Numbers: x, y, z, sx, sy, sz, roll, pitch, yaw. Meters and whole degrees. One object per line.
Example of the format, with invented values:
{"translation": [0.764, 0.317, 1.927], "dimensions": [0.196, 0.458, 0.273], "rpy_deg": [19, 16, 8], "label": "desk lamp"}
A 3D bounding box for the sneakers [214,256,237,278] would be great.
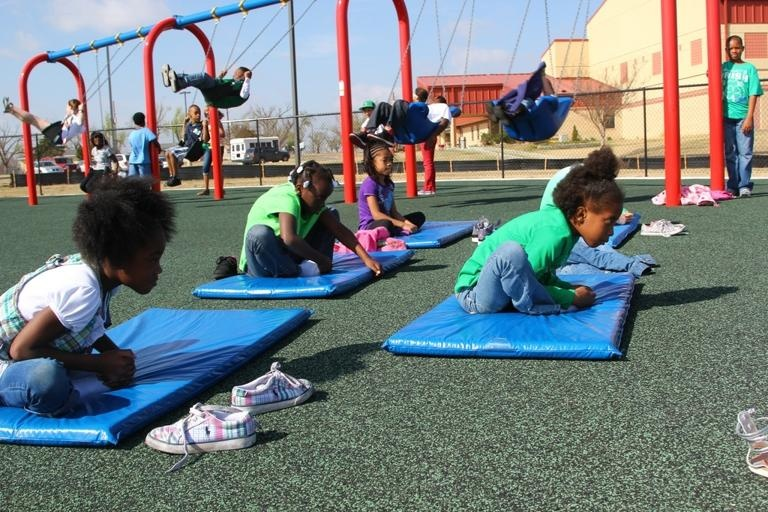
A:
{"translation": [-1.338, 0.108, 5.607], "dimensions": [0.191, 0.137, 0.345], "rpy_deg": [-7, 12, -14], "label": "sneakers"}

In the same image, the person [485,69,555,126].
{"translation": [1.543, -1.841, 7.754], "dimensions": [0.765, 0.598, 0.532], "rpy_deg": [-1, 13, 13], "label": "person"}

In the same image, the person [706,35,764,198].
{"translation": [4.852, -1.835, 9.175], "dimensions": [0.474, 2.174, 0.773], "rpy_deg": [1, 14, 25], "label": "person"}

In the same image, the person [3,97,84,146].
{"translation": [-5.905, -2.263, 11.756], "dimensions": [1.063, 0.733, 1.109], "rpy_deg": [-4, 12, 0], "label": "person"}

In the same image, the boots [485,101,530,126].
{"translation": [1.395, -1.654, 7.901], "dimensions": [0.566, 0.213, 0.177], "rpy_deg": [-12, 9, 8], "label": "boots"}

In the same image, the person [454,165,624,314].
{"translation": [0.883, -0.062, 4.016], "dimensions": [1.070, 0.729, 0.728], "rpy_deg": [-9, 3, 7], "label": "person"}

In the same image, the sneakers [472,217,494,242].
{"translation": [0.978, -0.260, 6.880], "dimensions": [0.174, 0.172, 0.456], "rpy_deg": [3, 12, 25], "label": "sneakers"}

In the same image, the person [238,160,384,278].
{"translation": [-0.578, -0.260, 5.346], "dimensions": [1.278, 0.822, 0.912], "rpy_deg": [-2, 10, -5], "label": "person"}

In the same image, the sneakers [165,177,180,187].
{"translation": [-4.612, -1.566, 14.655], "dimensions": [0.276, 0.185, 0.508], "rpy_deg": [0, 2, 4], "label": "sneakers"}

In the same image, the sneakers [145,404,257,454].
{"translation": [-0.792, 0.722, 2.890], "dimensions": [0.425, 0.142, 0.204], "rpy_deg": [1, 3, -2], "label": "sneakers"}

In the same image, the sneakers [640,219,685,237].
{"translation": [2.771, -0.256, 6.682], "dimensions": [0.419, 0.139, 0.217], "rpy_deg": [-1, 6, 9], "label": "sneakers"}

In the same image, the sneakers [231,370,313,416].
{"translation": [-0.529, 0.647, 3.243], "dimensions": [0.398, 0.144, 0.165], "rpy_deg": [-8, 15, -30], "label": "sneakers"}
